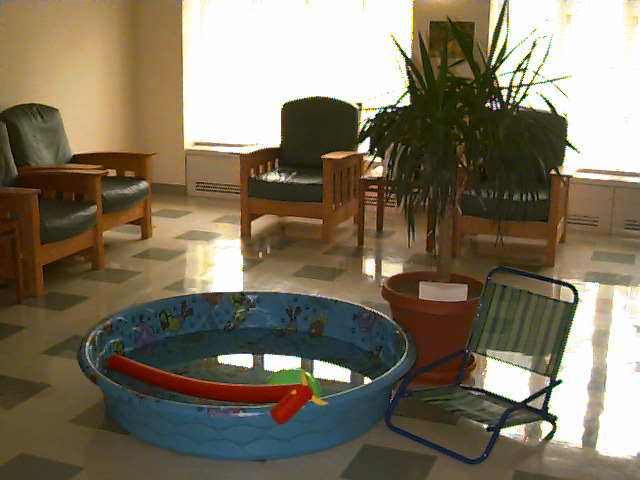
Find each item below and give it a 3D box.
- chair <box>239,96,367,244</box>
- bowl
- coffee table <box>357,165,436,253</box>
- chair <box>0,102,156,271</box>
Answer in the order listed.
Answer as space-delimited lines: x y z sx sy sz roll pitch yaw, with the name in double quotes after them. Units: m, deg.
-0.154 -0.699 4.808 1.101 1.248 0.841 1 14 4 "chair"
-0.340 0.558 2.397 1.419 0.303 1.167 -4 14 -16 "bowl"
0.643 -0.474 4.878 0.850 0.945 0.879 2 18 9 "coffee table"
-2.006 -0.601 4.658 1.256 1.550 1.117 5 12 21 "chair"
